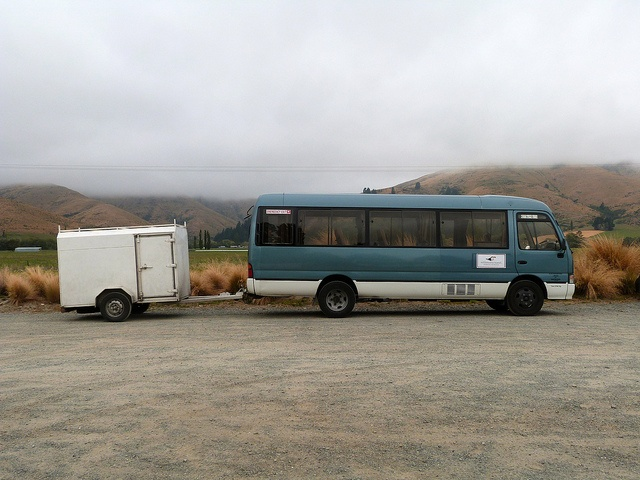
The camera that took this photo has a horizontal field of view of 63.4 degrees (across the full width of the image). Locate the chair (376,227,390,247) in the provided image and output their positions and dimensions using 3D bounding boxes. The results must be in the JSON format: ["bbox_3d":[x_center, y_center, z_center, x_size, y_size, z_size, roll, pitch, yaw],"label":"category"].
[{"bbox_3d":[1.799,-0.076,14.677,0.571,0.391,0.727,3,-4,9],"label":"chair"}]
